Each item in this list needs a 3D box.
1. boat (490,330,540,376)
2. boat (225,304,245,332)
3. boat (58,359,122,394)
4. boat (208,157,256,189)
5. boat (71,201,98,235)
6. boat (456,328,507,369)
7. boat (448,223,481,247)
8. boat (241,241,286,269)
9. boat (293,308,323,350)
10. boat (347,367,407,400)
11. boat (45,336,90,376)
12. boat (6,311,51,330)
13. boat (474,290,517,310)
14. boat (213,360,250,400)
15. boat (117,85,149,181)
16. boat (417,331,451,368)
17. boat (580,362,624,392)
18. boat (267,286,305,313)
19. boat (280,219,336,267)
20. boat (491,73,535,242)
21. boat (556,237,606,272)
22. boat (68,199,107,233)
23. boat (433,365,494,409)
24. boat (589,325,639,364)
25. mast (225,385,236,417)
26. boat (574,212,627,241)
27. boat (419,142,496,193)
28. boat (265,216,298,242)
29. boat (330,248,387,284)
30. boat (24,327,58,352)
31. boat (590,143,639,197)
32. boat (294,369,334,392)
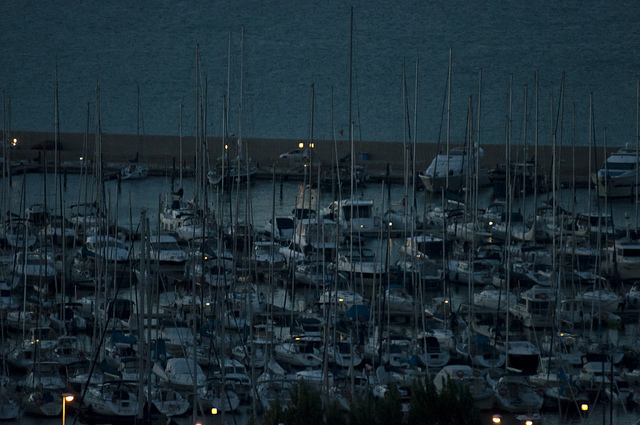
[{"bbox_3d":[6.247,4.576,53.231,0.721,0.901,2.370,-1,11,-4],"label":"boat"},{"bbox_3d":[-2.780,3.527,54.515,0.622,0.751,1.437,0,3,-4],"label":"boat"},{"bbox_3d":[-7.219,5.023,51.929,0.962,0.634,1.688,-1,9,-34],"label":"boat"},{"bbox_3d":[-3.640,-1.387,66.177,0.936,1.005,3.220,1,4,14],"label":"boat"},{"bbox_3d":[-8.628,0.308,61.418,1.013,0.934,1.674,0,-1,-6],"label":"boat"},{"bbox_3d":[5.199,4.449,53.363,1.491,1.110,3.187,-11,-1,-2],"label":"boat"},{"bbox_3d":[5.193,0.801,60.812,0.957,0.371,0.745,22,2,31],"label":"boat"},{"bbox_3d":[-1.981,1.603,58.941,1.040,0.954,1.832,0,8,-21],"label":"boat"},{"bbox_3d":[-0.396,3.913,53.912,0.916,0.882,1.465,0,3,-2],"label":"boat"},{"bbox_3d":[1.967,5.368,52.175,1.085,0.839,1.842,-15,0,-7],"label":"boat"},{"bbox_3d":[-8.019,4.516,53.053,1.295,1.139,2.773,1,0,-13],"label":"boat"},{"bbox_3d":[-9.424,3.543,54.262,1.111,0.492,0.634,0,11,-1],"label":"boat"},{"bbox_3d":[5.658,2.969,55.931,0.632,0.353,1.109,-2,2,-28],"label":"boat"},{"bbox_3d":[-2.732,5.091,52.223,0.799,0.701,1.373,6,4,-8],"label":"boat"},{"bbox_3d":[-7.668,-3.061,69.846,1.105,3.700,2.565,0,3,-5],"label":"boat"},{"bbox_3d":[3.523,4.393,53.623,1.035,0.880,2.157,-1,8,0],"label":"boat"},{"bbox_3d":[8.615,5.143,52.176,1.195,0.824,0.882,0,3,4],"label":"boat"},{"bbox_3d":[-1.170,2.981,56.239,0.860,0.249,0.861,9,9,-32],"label":"boat"},{"bbox_3d":[-0.209,1.247,60.235,1.667,1.578,3.087,6,1,-11],"label":"boat"},{"bbox_3d":[7.022,-1.640,62.576,1.331,6.587,4.531,0,-4,9],"label":"boat"},{"bbox_3d":[9.026,1.777,59.060,2.290,0.978,0.995,4,-4,-19],"label":"boat"},{"bbox_3d":[-8.786,0.199,62.006,1.001,0.874,1.680,1,1,-22],"label":"boat"},{"bbox_3d":[4.598,5.389,51.563,1.024,0.863,1.969,-1,12,-13],"label":"boat"},{"bbox_3d":[9.571,4.290,54.173,1.494,0.998,2.272,1,3,18],"label":"boat"},{"bbox_3d":[-2.751,5.813,51.267,0.045,1.051,0.103,-23,-2,-35],"label":"mast"},{"bbox_3d":[10.010,0.664,61.911,1.266,0.928,2.084,0,12,-20],"label":"boat"},{"bbox_3d":[5.456,-1.731,67.178,4.249,1.681,1.291,-6,-8,-42],"label":"boat"},{"bbox_3d":[-1.754,0.644,61.106,1.112,0.418,0.654,27,10,15],"label":"boat"},{"bbox_3d":[1.184,1.818,57.974,2.031,0.680,1.034,5,23,-16],"label":"boat"},{"bbox_3d":[-8.765,3.967,53.448,0.758,0.679,1.340,2,24,-29],"label":"boat"},{"bbox_3d":[11.173,-1.337,65.344,1.249,1.801,4.363,-1,4,25],"label":"boat"},{"bbox_3d":[-0.257,5.235,51.953,0.879,0.282,0.573,2,3,32],"label":"boat"}]
